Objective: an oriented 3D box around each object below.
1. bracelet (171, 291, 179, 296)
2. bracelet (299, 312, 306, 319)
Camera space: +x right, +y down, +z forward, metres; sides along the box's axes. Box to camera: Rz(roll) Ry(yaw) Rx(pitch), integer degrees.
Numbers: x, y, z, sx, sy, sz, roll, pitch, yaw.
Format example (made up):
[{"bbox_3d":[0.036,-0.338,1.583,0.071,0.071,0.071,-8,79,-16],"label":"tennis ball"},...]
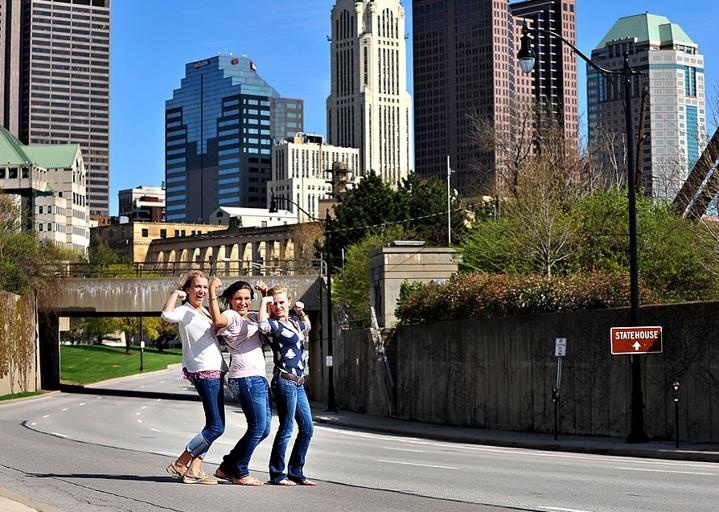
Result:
[{"bbox_3d":[-4.563,0.647,29.679,0.176,0.119,0.243,0,-3,-13],"label":"bracelet"},{"bbox_3d":[-1.492,1.237,31.002,0.209,0.106,0.241,1,4,11],"label":"bracelet"}]
